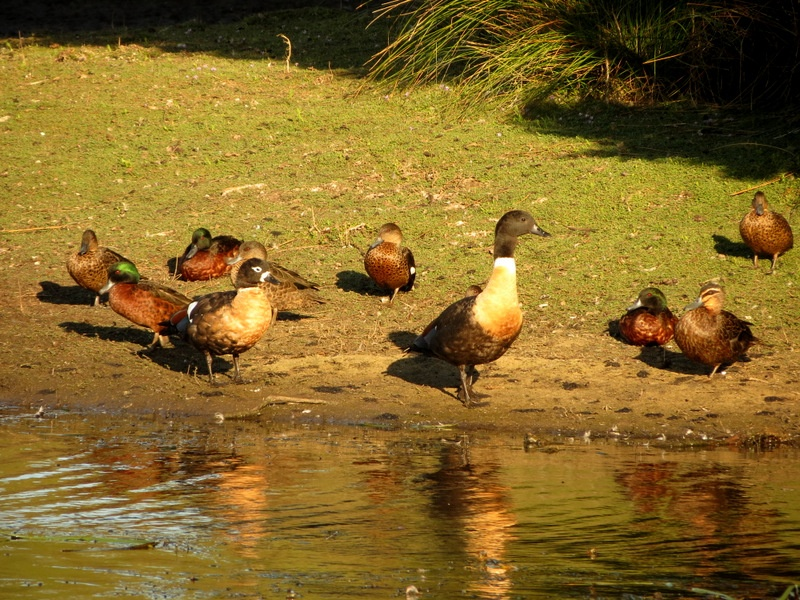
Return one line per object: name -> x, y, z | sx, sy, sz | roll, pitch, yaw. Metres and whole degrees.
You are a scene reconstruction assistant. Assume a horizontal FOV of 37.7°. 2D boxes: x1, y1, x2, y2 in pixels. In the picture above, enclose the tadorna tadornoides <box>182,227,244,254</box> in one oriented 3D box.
tadorna tadornoides -> -2.536, -0.795, 15.948 | 0.717, 0.349, 0.360 | 1, 42, -8
